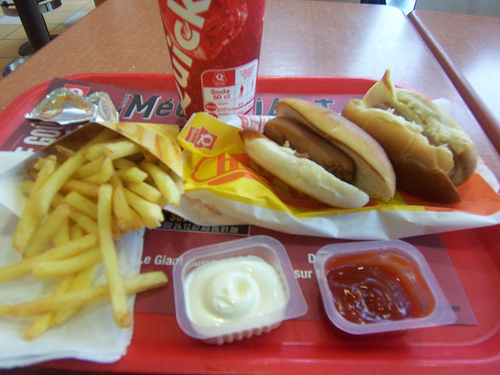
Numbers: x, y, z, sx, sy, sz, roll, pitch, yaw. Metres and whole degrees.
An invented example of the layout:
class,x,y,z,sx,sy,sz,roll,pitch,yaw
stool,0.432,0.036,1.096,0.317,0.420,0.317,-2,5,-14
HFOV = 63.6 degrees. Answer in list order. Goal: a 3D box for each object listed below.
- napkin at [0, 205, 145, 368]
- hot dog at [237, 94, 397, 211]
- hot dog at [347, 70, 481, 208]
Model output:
class,x,y,z,sx,sy,sz,roll,pitch,yaw
napkin,-0.774,0.411,1.612,0.671,0.123,0.598,7,62,1
hot dog,0.295,-0.101,1.971,0.720,0.221,0.427,39,72,21
hot dog,0.803,-0.264,2.018,0.437,0.304,0.783,-17,49,-17
